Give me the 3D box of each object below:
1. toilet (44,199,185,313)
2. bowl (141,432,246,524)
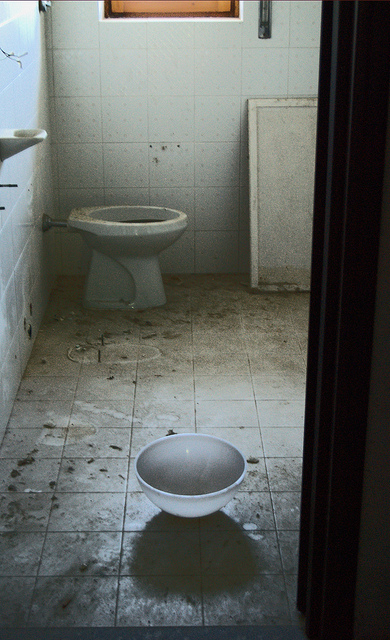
[{"bbox_3d":[-0.423,-0.359,2.911,0.708,0.532,0.419,-1,31,-12],"label":"toilet"},{"bbox_3d":[-0.005,0.410,1.292,0.267,0.164,0.288,0,22,0],"label":"bowl"}]
